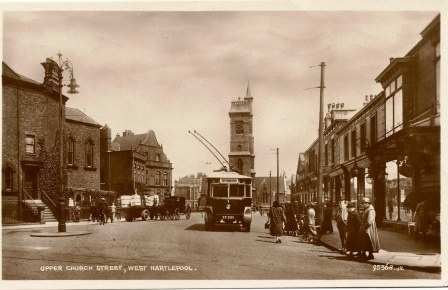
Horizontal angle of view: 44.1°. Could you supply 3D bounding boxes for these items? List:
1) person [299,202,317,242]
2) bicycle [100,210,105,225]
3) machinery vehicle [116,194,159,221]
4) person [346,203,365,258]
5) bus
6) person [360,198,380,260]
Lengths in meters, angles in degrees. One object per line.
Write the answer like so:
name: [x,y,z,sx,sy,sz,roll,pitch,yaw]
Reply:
person: [5.396,4.825,34.327,1.026,2.221,0.794,0,0,-16]
bicycle: [-9.690,5.784,44.002,0.374,1.196,1.473,2,-11,-13]
machinery vehicle: [-7.297,5.479,47.822,3.255,2.410,1.488,7,-13,-36]
person: [6.742,4.464,28.487,0.757,2.544,0.810,0,1,7]
bus: [0.574,4.050,40.466,3.370,3.758,6.548,0,-5,5]
person: [7.351,4.247,28.198,1.156,2.759,1.218,3,-4,-12]
